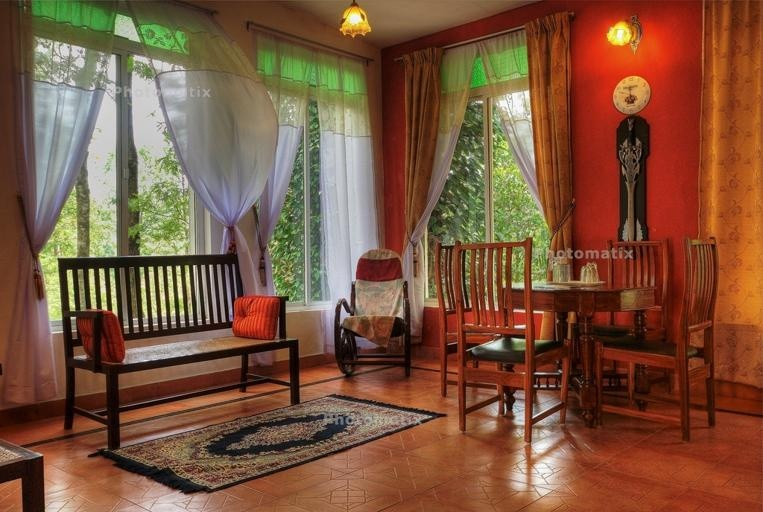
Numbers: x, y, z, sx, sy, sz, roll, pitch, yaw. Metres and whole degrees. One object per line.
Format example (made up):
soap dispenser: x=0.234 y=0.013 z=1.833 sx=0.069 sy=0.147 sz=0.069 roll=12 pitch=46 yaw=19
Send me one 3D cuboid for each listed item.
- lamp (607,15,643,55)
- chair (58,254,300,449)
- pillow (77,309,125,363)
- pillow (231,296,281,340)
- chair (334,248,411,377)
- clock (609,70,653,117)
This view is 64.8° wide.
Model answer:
lamp: x=2.286 y=-2.084 z=5.643 sx=0.281 sy=0.350 sz=0.195 roll=8 pitch=19 yaw=30
chair: x=-1.664 y=0.721 z=5.202 sx=0.778 sy=1.364 sz=1.884 roll=1 pitch=1 yaw=34
pillow: x=-2.164 y=0.625 z=4.676 sx=0.220 sy=0.387 sz=0.593 roll=5 pitch=-7 yaw=-42
pillow: x=-1.087 y=0.548 z=5.328 sx=0.416 sy=0.386 sz=0.153 roll=-3 pitch=-13 yaw=32
chair: x=-0.095 y=0.605 z=6.451 sx=0.759 sy=1.263 sz=1.101 roll=-1 pitch=9 yaw=-1
clock: x=2.379 y=-1.529 z=5.703 sx=0.341 sy=0.374 sz=0.070 roll=8 pitch=13 yaw=42
